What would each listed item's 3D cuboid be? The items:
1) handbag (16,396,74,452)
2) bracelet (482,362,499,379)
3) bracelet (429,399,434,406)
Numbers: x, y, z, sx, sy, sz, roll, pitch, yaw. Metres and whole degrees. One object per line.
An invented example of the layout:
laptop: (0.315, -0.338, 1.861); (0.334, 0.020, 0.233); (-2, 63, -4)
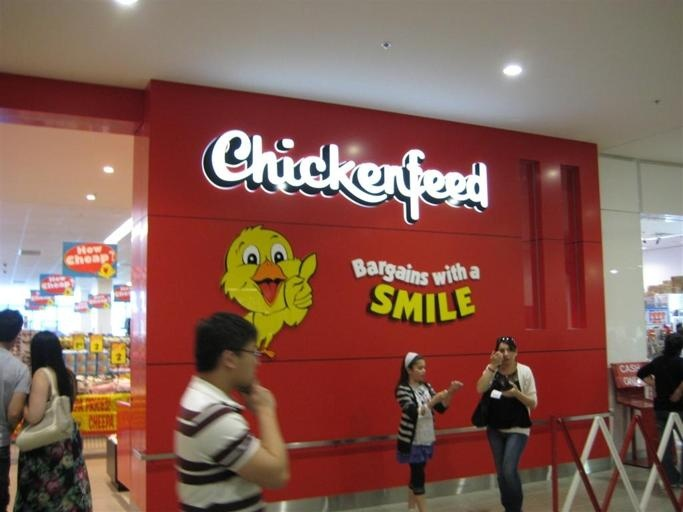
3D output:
handbag: (-2.219, 1.233, 4.389); (0.438, 0.447, 0.313); (-9, -1, -25)
bracelet: (1.500, 1.139, 5.733); (0.150, 0.160, 0.146); (4, -4, -31)
bracelet: (0.846, 1.409, 5.466); (0.050, 0.061, 0.026); (-3, -6, 26)
